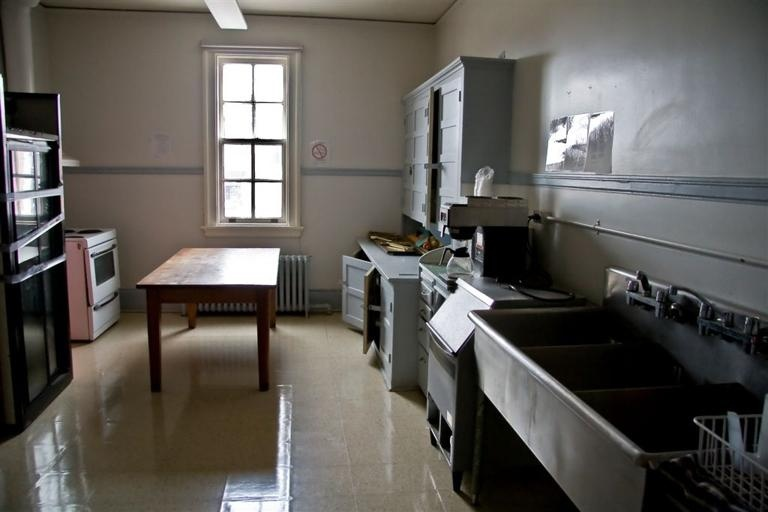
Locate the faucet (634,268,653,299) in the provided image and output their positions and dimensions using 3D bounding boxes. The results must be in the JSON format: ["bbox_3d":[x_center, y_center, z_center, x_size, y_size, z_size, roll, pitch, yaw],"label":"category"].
[{"bbox_3d":[1.327,0.131,2.835,0.074,0.147,0.231,6,13,26],"label":"faucet"}]

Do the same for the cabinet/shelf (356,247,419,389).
[{"bbox_3d":[0.045,0.544,4.659,0.310,0.544,1.049,0,9,-4],"label":"cabinet/shelf"}]
